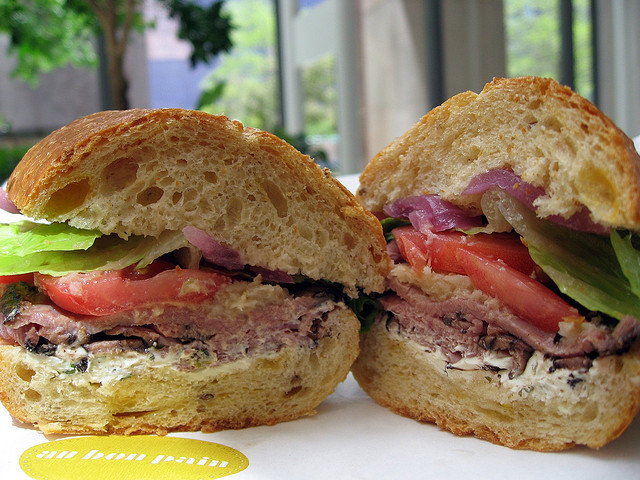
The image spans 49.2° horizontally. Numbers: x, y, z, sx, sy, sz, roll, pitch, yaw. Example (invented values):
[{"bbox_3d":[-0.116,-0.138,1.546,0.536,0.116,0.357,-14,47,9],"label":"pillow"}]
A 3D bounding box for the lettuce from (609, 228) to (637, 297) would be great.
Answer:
[{"bbox_3d":[1.079,0.083,2.471,0.044,0.203,0.140,-25,-18,40],"label":"lettuce"}]

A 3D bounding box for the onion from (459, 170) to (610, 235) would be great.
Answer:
[{"bbox_3d":[0.789,-0.162,2.759,0.339,0.083,0.312,24,1,22],"label":"onion"}]

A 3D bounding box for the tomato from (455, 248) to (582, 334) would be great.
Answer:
[{"bbox_3d":[0.742,0.168,2.652,0.347,0.078,0.269,25,4,28],"label":"tomato"}]

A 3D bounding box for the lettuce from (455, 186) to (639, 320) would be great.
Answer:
[{"bbox_3d":[0.875,0.044,2.602,0.547,0.197,0.411,12,1,10],"label":"lettuce"}]

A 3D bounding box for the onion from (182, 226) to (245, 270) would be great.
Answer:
[{"bbox_3d":[-0.417,0.034,2.775,0.299,0.096,0.095,35,3,-22],"label":"onion"}]
